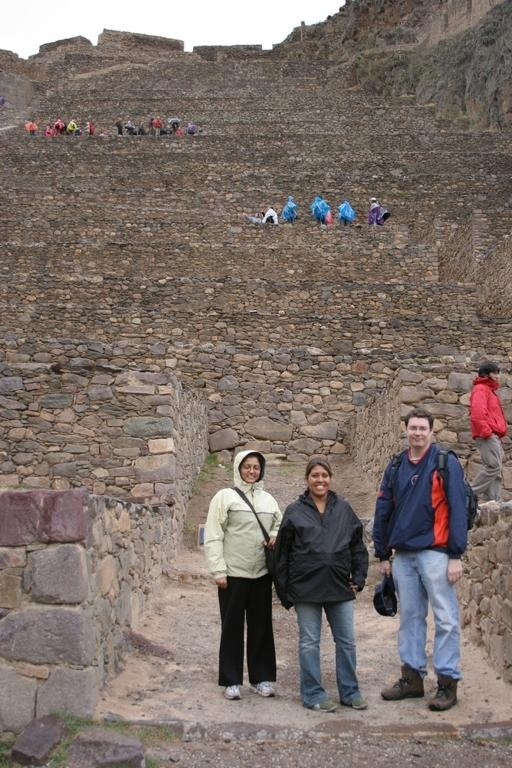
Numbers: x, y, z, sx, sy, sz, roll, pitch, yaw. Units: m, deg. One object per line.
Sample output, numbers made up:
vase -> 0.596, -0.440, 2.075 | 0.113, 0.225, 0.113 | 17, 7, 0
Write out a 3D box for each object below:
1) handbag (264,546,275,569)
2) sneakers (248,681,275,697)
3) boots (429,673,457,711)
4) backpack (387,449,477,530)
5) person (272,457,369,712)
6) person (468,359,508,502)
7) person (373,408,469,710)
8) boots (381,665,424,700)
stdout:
handbag -> 0.078, 0.890, 4.252 | 0.041, 0.093, 0.074 | -1, 2, 9
sneakers -> 0.029, 1.534, 4.204 | 0.124, 0.053, 0.051 | -4, -5, 25
boots -> 0.876, 1.428, 3.888 | 0.109, 0.144, 0.168 | 8, 16, 26
backpack -> 0.883, 0.514, 4.338 | 0.308, 0.419, 0.467 | 7, 16, 23
person -> 0.314, 0.991, 4.096 | 0.462, 1.139, 0.709 | 1, 15, 3
person -> 1.741, 0.385, 6.306 | 0.268, 1.129, 0.370 | 4, 15, 13
person -> 0.787, 0.846, 4.062 | 0.448, 1.307, 0.761 | 3, 15, 9
boots -> 0.670, 1.467, 4.117 | 0.298, 0.191, 0.101 | -1, -9, 2
